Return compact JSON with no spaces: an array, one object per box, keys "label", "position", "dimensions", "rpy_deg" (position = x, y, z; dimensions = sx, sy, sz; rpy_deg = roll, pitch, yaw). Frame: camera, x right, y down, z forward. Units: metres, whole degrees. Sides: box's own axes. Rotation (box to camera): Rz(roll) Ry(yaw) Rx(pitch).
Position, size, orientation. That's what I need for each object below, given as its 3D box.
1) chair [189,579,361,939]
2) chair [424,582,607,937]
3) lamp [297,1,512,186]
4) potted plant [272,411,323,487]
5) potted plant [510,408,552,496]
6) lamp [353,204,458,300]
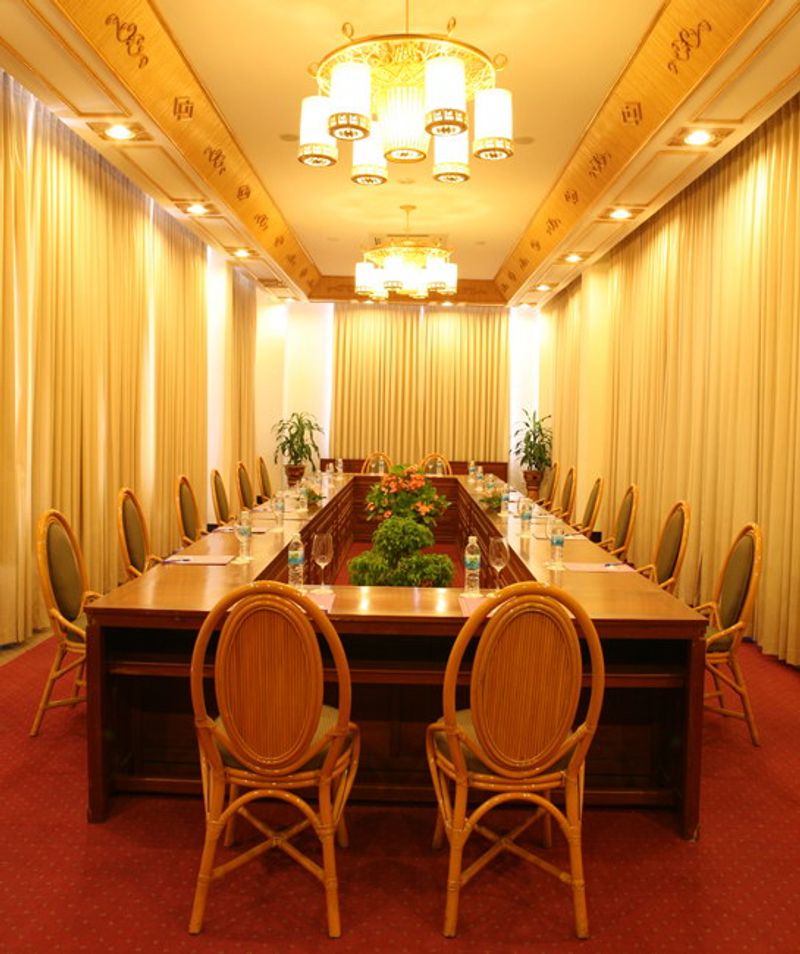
[{"label":"chair","position":[-0.330,0.687,2.031],"dimensions":[0.413,0.939,0.495],"rpy_deg":[1,9,-11]},{"label":"chair","position":[0.300,0.696,2.036],"dimensions":[0.459,0.885,0.725],"rpy_deg":[1,0,11]},{"label":"lamp","position":[0.023,-1.771,3.576],"dimensions":[0.946,0.500,1.057],"rpy_deg":[7,11,33]},{"label":"potted plant","position":[-1.730,-0.347,12.132],"dimensions":[0.665,1.336,0.720],"rpy_deg":[1,-7,17]},{"label":"potted plant","position":[2.138,-0.291,11.979],"dimensions":[0.539,1.349,0.561],"rpy_deg":[2,2,-44]},{"label":"lamp","position":[0.067,-2.395,7.816],"dimensions":[1.117,1.132,1.222],"rpy_deg":[-1,-3,12]}]
